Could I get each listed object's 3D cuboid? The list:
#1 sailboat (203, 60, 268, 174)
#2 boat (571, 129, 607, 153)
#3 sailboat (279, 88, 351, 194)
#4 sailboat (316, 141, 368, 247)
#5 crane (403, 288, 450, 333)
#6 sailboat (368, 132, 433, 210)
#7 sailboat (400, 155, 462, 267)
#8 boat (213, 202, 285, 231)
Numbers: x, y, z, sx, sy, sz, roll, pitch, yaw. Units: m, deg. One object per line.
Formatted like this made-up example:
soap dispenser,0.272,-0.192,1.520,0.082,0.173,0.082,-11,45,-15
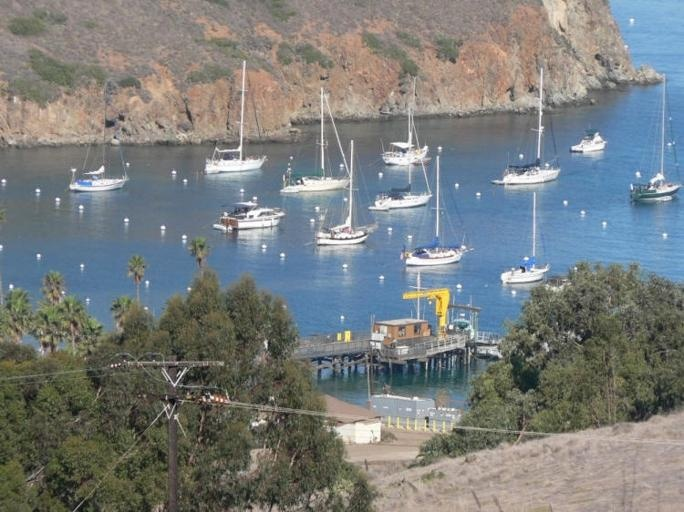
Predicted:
sailboat,-15.304,-20.244,249.509,9.032,18.837,3.459,-1,-21,1
boat,37.324,-17.788,257.006,2.843,3.991,6.581,-1,3,35
sailboat,-3.411,-16.137,231.962,9.096,16.424,4.629,-2,42,-5
sailboat,0.421,-8.229,209.623,7.434,14.573,2.791,-1,34,-4
crane,9.226,6.021,181.906,4.665,5.831,1.702,-2,28,7
sailboat,8.307,-11.932,242.168,6.817,11.493,6.875,-10,7,-41
sailboat,11.356,-6.200,205.167,8.241,14.628,2.482,0,-3,-12
boat,-12.060,-5.330,218.562,8.553,2.880,3.923,-4,15,-18
